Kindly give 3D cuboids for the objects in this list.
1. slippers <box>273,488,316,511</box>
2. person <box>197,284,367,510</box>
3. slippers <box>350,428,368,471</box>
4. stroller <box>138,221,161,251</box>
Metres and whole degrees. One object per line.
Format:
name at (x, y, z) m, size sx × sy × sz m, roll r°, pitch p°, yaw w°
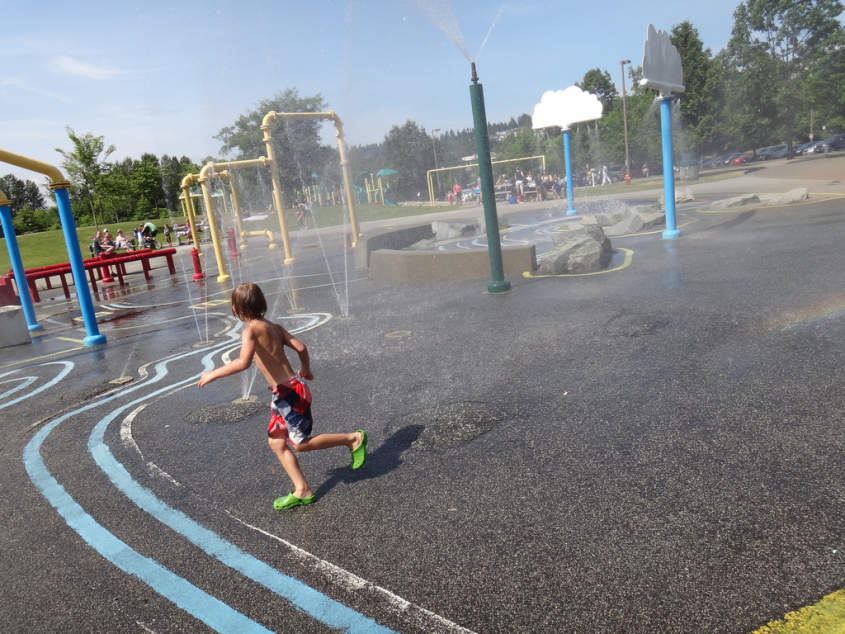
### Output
slippers at (-1.065, 1.509, 4.393) m, size 0.286 × 0.142 × 0.134 m, roll -1°, pitch 9°, yaw -7°
person at (-1.136, 0.614, 4.463) m, size 0.832 × 1.823 × 0.683 m, roll -5°, pitch 13°, yaw 19°
slippers at (-0.562, 1.178, 4.764) m, size 0.135 × 0.349 × 0.167 m, roll -2°, pitch 9°, yaw -9°
stroller at (-14.150, -4.130, 27.573) m, size 0.845 × 1.353 × 1.347 m, roll -17°, pitch 14°, yaw -29°
